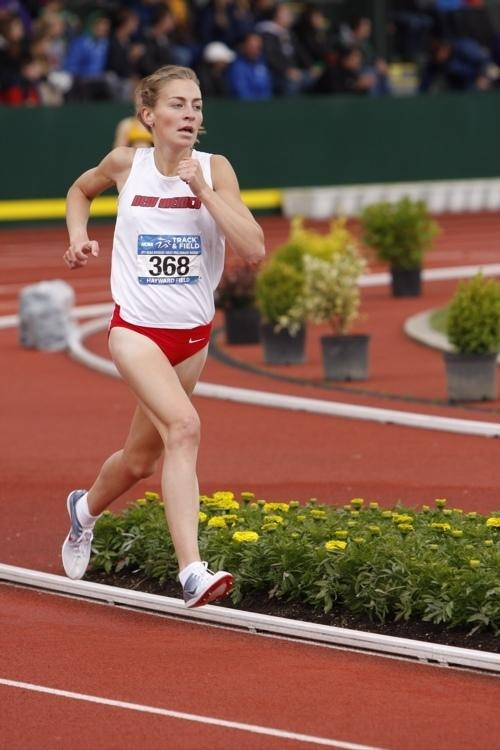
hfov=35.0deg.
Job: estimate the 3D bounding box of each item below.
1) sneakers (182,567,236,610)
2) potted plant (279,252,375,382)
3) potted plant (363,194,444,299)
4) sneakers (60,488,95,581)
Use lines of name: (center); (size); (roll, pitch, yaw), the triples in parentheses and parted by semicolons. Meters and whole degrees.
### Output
sneakers: (-0.136, 0.654, 2.431); (0.087, 0.102, 0.227); (14, -36, -34)
potted plant: (0.342, -0.251, 3.667); (0.454, 0.572, 0.517); (-4, -6, -29)
potted plant: (0.628, -0.522, 3.491); (0.413, 0.376, 0.337); (-5, -8, -22)
sneakers: (-0.728, 0.655, 3.291); (0.148, 0.368, 0.162); (4, -10, -23)
